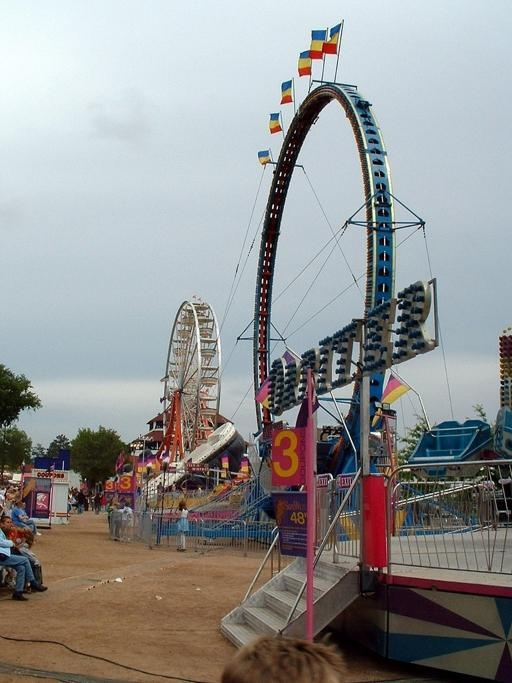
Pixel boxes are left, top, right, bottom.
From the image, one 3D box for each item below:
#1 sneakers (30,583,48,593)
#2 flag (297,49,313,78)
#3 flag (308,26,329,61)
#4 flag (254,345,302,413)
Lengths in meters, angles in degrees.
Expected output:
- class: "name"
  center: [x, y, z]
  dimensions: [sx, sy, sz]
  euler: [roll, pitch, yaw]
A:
- class: "sneakers"
  center: [-3.803, 4.354, 11.879]
  dimensions: [0.365, 0.161, 0.135]
  euler: [12, 3, -13]
- class: "flag"
  center: [1.860, -10.522, 25.528]
  dimensions: [0.437, 1.245, 0.884]
  euler: [2, -12, 4]
- class: "flag"
  center: [2.308, -10.982, 24.761]
  dimensions: [0.557, 0.908, 0.637]
  euler: [2, -12, 1]
- class: "flag"
  center: [0.636, 1.294, 23.212]
  dimensions: [0.608, 2.264, 2.101]
  euler: [14, -41, -27]
